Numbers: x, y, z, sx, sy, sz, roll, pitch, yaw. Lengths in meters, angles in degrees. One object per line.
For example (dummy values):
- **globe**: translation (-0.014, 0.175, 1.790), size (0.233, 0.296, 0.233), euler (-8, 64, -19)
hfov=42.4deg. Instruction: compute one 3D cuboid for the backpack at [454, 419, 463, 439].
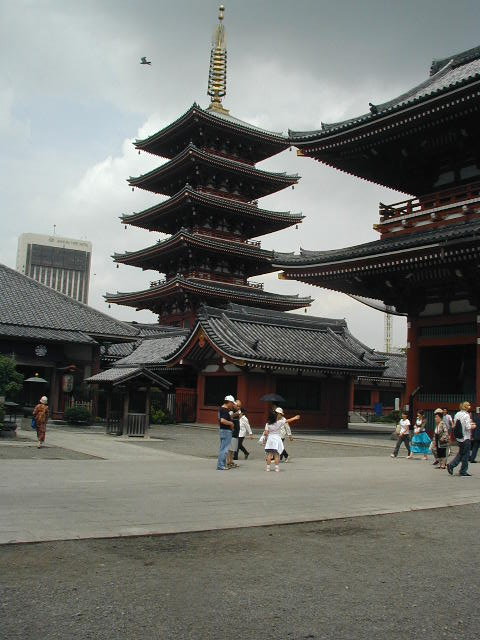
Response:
- **backpack**: translation (4.582, 2.307, 12.939), size (0.096, 0.347, 0.207), euler (3, 3, -2)
